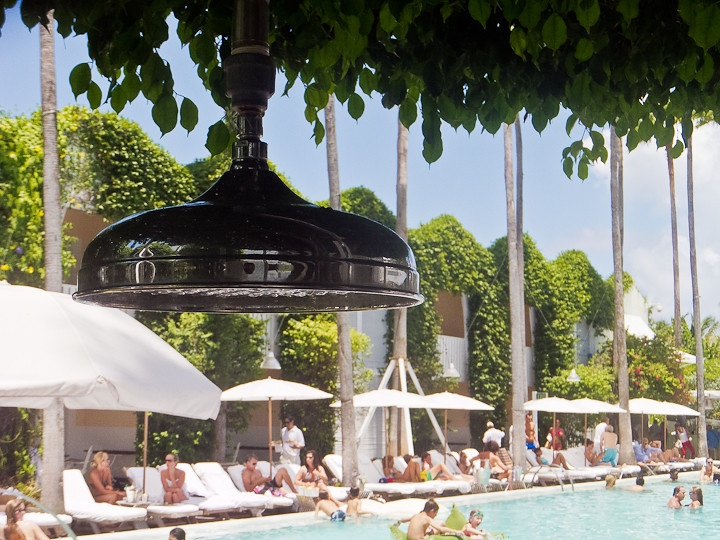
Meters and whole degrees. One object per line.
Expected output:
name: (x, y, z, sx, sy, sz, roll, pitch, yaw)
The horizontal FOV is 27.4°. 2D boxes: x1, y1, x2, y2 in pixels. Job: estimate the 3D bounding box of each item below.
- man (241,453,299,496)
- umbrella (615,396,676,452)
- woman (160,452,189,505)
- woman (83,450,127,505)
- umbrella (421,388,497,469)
man: (-2.204, 5.102, 36.381, 1.251, 1.066, 0.749, -3, -10, 5)
umbrella: (9.282, 5.197, 48.547, 1.561, 1.694, 1.642, 5, 2, 34)
woman: (-4.358, 4.990, 34.802, 0.471, 1.373, 0.805, -4, -38, -6)
woman: (-5.735, 4.781, 33.825, 0.755, 1.243, 0.707, 7, 11, 30)
umbrella: (2.298, 4.146, 41.296, 1.851, 1.786, 1.955, -2, -7, 33)
